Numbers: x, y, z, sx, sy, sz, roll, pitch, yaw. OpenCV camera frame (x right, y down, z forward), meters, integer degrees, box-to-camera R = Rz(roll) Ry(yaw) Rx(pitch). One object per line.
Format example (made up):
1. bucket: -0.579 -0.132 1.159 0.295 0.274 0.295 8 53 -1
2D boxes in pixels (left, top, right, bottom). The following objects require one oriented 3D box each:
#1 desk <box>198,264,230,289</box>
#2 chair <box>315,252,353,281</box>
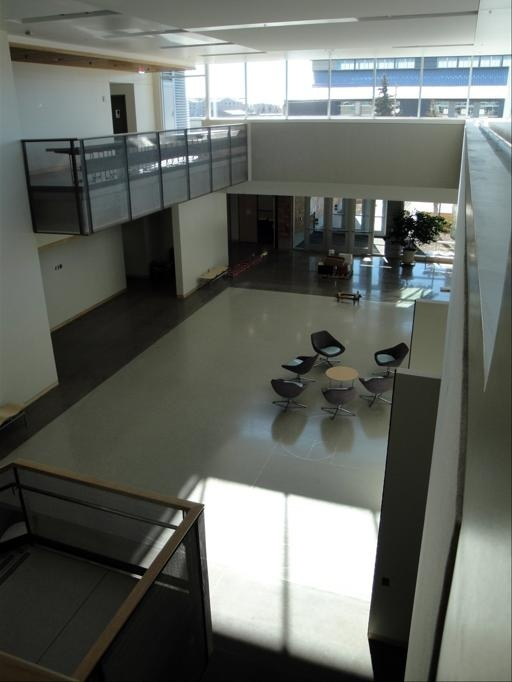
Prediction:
1. desk: -1.559 -2.365 17.468 0.480 0.469 1.629 7 22 20
2. chair: 3.055 -2.892 18.198 1.066 0.806 1.049 4 15 17
